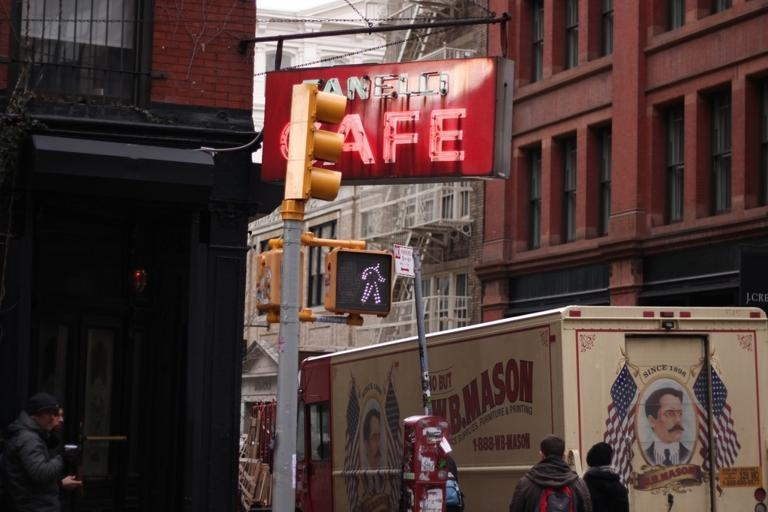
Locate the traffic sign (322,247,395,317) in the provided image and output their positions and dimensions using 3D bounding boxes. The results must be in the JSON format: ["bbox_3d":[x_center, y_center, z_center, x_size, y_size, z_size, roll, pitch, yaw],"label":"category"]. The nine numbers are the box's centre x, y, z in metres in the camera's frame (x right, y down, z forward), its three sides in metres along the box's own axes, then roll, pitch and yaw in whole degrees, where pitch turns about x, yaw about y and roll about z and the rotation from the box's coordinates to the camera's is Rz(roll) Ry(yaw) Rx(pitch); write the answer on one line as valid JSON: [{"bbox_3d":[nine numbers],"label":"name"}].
[{"bbox_3d":[-0.379,0.398,25.748,1.297,1.162,0.494,2,-9,-15],"label":"traffic sign"}]

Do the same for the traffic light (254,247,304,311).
[{"bbox_3d":[-1.668,0.348,24.967,0.266,0.949,1.029,3,-10,-22],"label":"traffic light"}]

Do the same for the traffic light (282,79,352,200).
[{"bbox_3d":[-1.000,-1.637,24.406,0.867,1.747,0.472,0,-10,-3],"label":"traffic light"}]

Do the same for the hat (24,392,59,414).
[{"bbox_3d":[-4.976,2.110,24.576,0.359,0.276,0.318,-8,4,-22],"label":"hat"}]

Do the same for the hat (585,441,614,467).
[{"bbox_3d":[3.203,2.898,25.045,0.288,0.305,0.406,2,9,26],"label":"hat"}]
